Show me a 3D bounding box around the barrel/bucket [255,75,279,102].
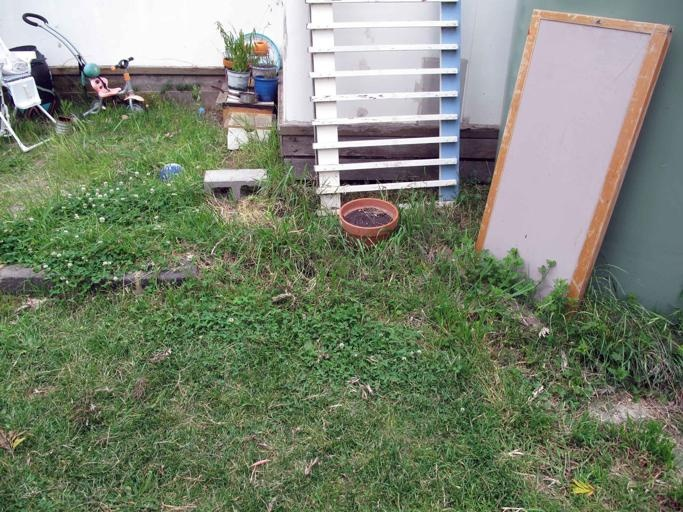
[{"bbox_3d":[-0.903,-1.985,6.256,0.264,0.227,0.297,-1,35,-4],"label":"barrel/bucket"}]

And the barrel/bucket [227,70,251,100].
[{"bbox_3d":[-1.250,-2.095,6.412,0.278,0.244,0.589,-5,32,-10],"label":"barrel/bucket"}]

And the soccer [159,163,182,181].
[{"bbox_3d":[-1.673,-0.799,5.155,0.167,0.143,0.172,-5,4,17],"label":"soccer"}]

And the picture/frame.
[{"bbox_3d":[1.564,-0.731,3.812,0.590,1.782,1.092,-17,33,-30],"label":"picture/frame"}]

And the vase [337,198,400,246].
[{"bbox_3d":[0.231,-0.312,4.525,0.487,0.201,0.487,25,38,33],"label":"vase"}]

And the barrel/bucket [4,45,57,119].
[{"bbox_3d":[-3.771,-2.161,6.555,0.357,0.797,0.537,-14,32,-25],"label":"barrel/bucket"}]
